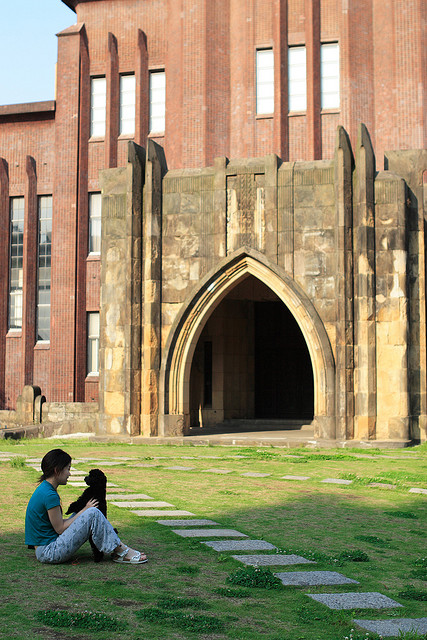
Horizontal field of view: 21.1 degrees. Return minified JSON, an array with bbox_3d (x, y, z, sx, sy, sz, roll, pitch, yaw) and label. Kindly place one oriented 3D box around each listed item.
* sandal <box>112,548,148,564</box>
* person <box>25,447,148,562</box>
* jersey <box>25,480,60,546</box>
[{"bbox_3d":[-0.788,2.266,11.096,0.286,0.157,0.129,-2,-1,8],"label":"sandal"},{"bbox_3d":[-1.251,1.833,11.178,0.987,1.241,0.636,-3,-14,-8],"label":"person"},{"bbox_3d":[-1.629,1.850,10.959,0.257,0.601,0.528,7,-13,-22],"label":"jersey"}]
